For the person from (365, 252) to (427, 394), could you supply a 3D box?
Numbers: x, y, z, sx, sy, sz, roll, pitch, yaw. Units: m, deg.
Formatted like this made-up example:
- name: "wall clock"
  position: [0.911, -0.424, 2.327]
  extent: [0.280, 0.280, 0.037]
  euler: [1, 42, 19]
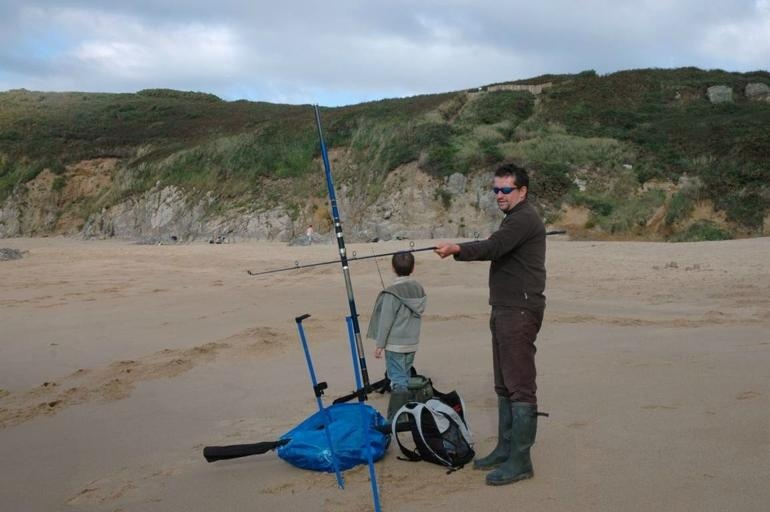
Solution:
- name: "person"
  position: [0.141, 0.814, 7.128]
  extent: [0.557, 1.674, 0.738]
  euler: [0, 1, 0]
